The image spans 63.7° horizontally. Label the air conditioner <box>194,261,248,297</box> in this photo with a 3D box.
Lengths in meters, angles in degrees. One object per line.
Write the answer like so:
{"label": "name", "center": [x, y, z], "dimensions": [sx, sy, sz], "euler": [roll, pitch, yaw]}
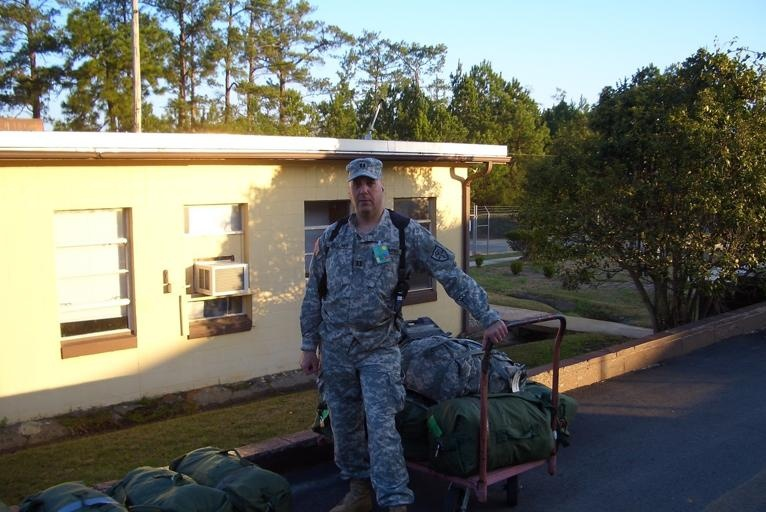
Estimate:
{"label": "air conditioner", "center": [-2.972, 0.410, 11.392], "dimensions": [0.457, 0.536, 0.836], "euler": [7, 7, 36]}

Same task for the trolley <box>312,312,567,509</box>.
{"label": "trolley", "center": [0.770, 1.496, 6.495], "dimensions": [1.474, 2.238, 2.261], "euler": [1, -3, -32]}
